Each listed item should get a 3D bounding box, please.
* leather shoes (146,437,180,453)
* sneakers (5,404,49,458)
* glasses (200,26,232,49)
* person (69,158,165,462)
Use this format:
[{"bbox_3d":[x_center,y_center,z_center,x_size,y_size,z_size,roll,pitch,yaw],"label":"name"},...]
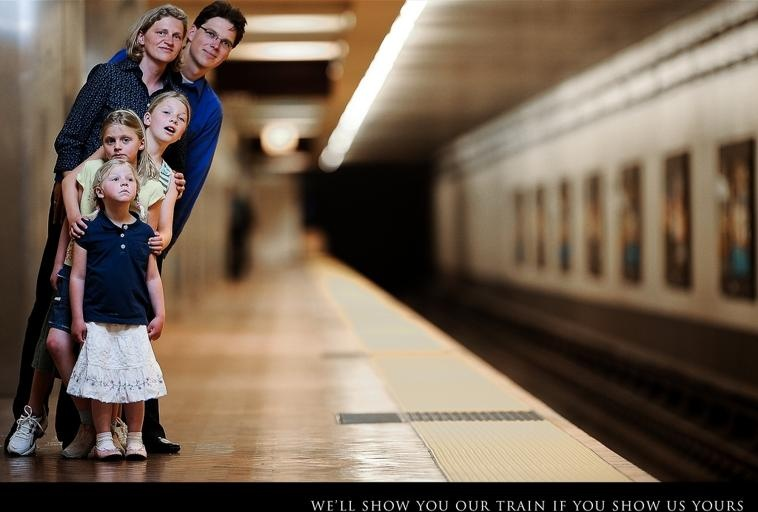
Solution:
[{"bbox_3d":[-1.324,1.168,4.090,0.233,0.087,0.083,6,5,-22],"label":"leather shoes"},{"bbox_3d":[-2.108,1.034,4.037,0.175,0.190,0.401,14,16,-10],"label":"sneakers"},{"bbox_3d":[-1.000,-1.342,4.083,0.202,0.118,0.058,1,10,-13],"label":"glasses"},{"bbox_3d":[-1.452,0.136,3.620,0.494,1.310,0.326,-1,10,-24],"label":"person"}]
